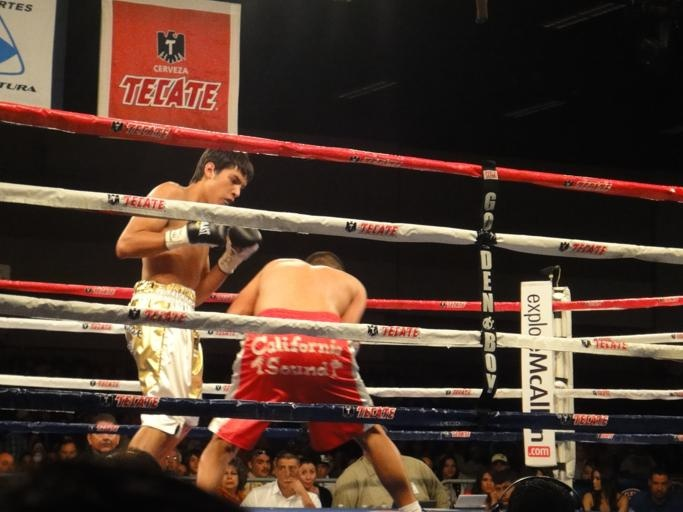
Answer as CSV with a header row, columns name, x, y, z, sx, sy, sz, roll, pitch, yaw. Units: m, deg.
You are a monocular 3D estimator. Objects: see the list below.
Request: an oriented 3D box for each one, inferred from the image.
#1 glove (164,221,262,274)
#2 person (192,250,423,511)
name,x,y,z,sx,sy,sz,roll,pitch,yaw
glove,-0.841,-0.087,6.690,0.556,0.235,0.675,-9,-19,34
person,-0.185,0.759,6.765,1.381,1.839,0.534,7,-22,-5
